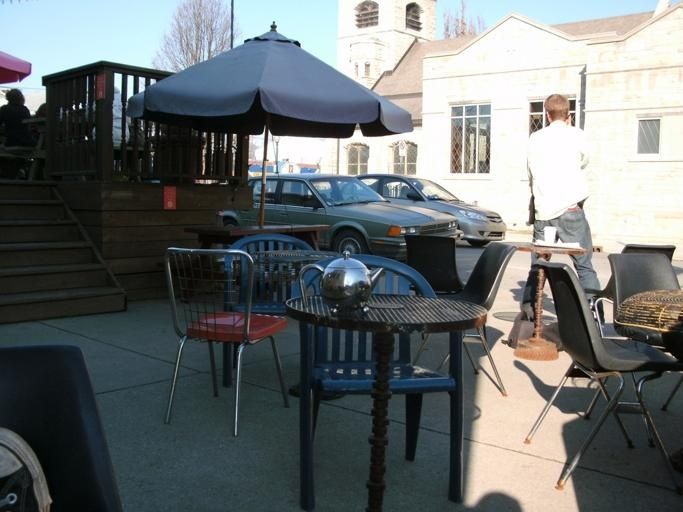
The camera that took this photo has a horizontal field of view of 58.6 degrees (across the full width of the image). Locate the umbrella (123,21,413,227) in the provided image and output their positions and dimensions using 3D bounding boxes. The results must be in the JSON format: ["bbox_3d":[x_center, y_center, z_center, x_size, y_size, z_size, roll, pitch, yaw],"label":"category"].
[{"bbox_3d":[-0.976,-2.013,8.501,3.820,2.114,3.894,10,13,35],"label":"umbrella"}]

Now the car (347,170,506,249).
[{"bbox_3d":[1.983,-1.279,14.800,3.671,1.311,1.637,9,9,35],"label":"car"}]

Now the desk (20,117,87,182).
[{"bbox_3d":[-4.506,-1.722,9.495,0.762,1.013,3.303,-4,10,-28],"label":"desk"}]

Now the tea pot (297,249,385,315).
[{"bbox_3d":[0.013,0.122,2.883,0.392,0.291,0.268,-1,-2,-10],"label":"tea pot"}]
